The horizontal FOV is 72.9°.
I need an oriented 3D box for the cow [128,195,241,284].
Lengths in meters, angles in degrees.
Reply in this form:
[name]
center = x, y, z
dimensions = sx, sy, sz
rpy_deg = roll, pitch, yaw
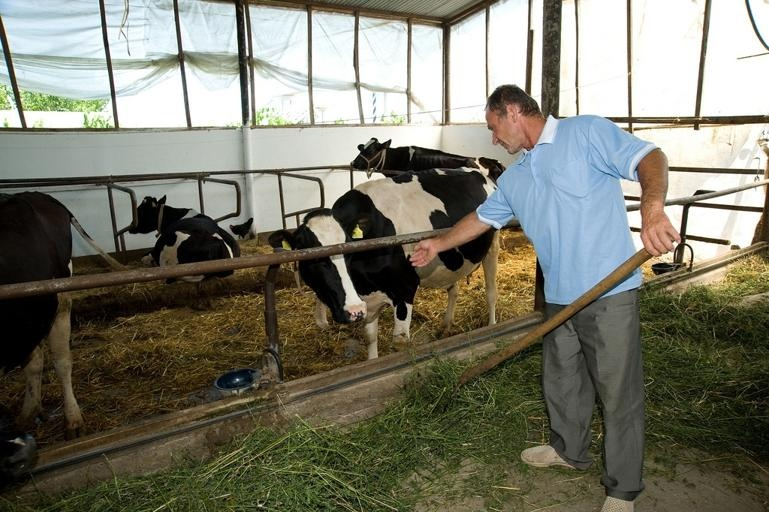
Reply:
[cow]
center = -2.734, -0.235, 7.138
dimensions = 0.974, 1.090, 1.849
rpy_deg = -16, 19, -42

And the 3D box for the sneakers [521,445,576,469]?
[sneakers]
center = 1.050, 1.305, 3.382
dimensions = 0.341, 0.116, 0.128
rpy_deg = 4, 31, 8

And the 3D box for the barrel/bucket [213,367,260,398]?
[barrel/bucket]
center = -1.047, 0.902, 3.760
dimensions = 0.350, 0.167, 0.247
rpy_deg = -5, 14, -7

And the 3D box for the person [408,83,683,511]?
[person]
center = 1.127, 0.198, 3.293
dimensions = 1.250, 2.535, 0.800
rpy_deg = 6, 17, 33
